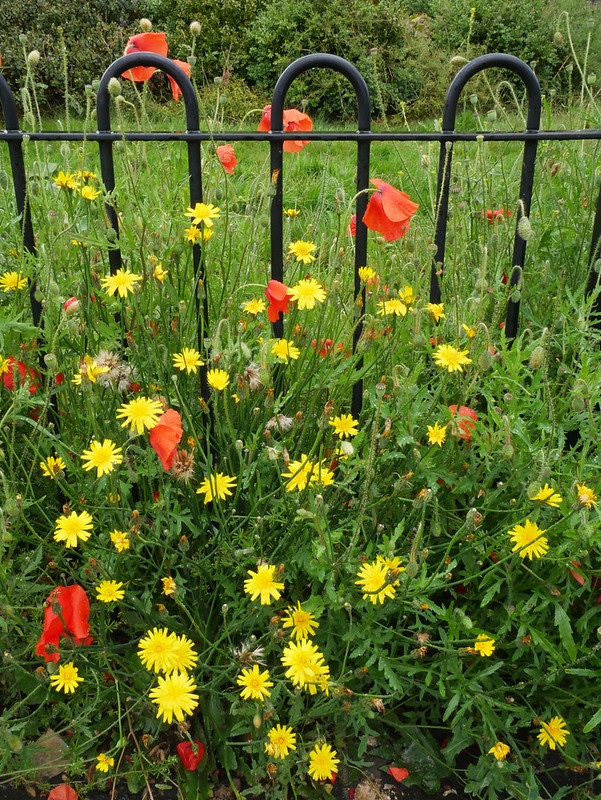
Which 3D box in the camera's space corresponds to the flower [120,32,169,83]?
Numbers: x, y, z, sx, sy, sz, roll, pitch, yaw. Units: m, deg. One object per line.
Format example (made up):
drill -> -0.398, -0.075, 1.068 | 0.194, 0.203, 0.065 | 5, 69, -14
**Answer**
flower -> -0.381, -0.837, 1.615 | 0.101, 0.114, 0.346 | -4, 27, -12
